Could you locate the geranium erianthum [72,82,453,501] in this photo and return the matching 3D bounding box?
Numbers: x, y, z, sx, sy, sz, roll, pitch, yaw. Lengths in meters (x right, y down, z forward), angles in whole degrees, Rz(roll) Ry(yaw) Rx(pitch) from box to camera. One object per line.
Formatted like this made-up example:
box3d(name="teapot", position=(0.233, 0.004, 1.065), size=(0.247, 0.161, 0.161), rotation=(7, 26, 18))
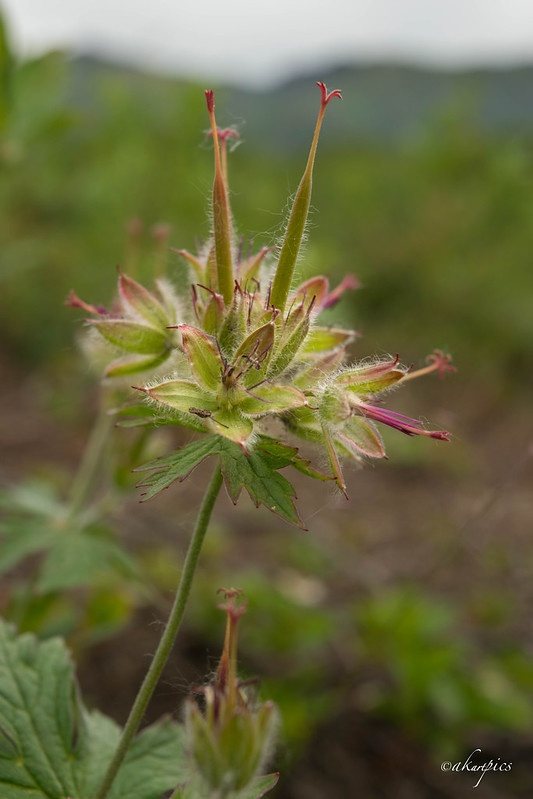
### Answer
box3d(name="geranium erianthum", position=(-0.012, -0.197, 1.406), size=(0.604, 0.616, 0.666), rotation=(-16, 45, -16))
